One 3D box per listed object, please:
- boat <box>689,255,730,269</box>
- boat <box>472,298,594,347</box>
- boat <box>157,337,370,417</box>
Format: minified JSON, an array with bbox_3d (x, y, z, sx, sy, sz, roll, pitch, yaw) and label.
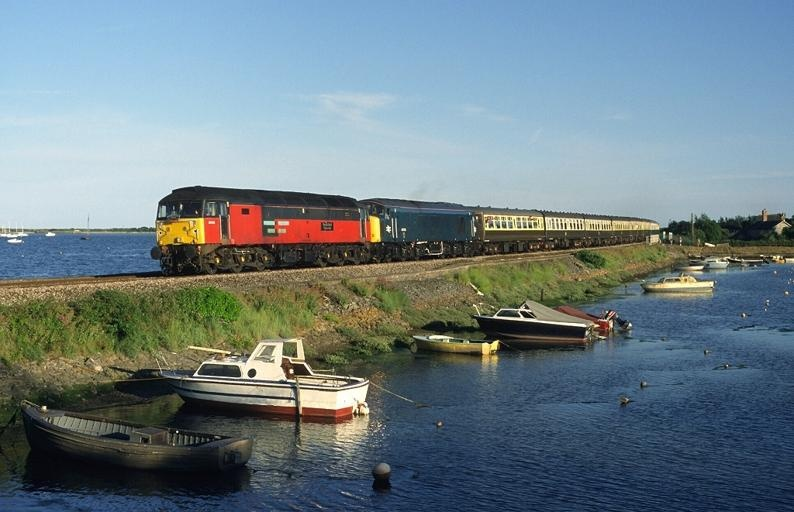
[{"bbox_3d":[44.204,0.884,100.150,5.887,1.870,1.809,0,3,17],"label":"boat"},{"bbox_3d":[8.546,4.191,43.696,8.578,2.821,2.456,3,-5,11],"label":"boat"},{"bbox_3d":[-5.217,5.402,30.091,7.897,2.481,3.688,0,-2,12],"label":"boat"}]
